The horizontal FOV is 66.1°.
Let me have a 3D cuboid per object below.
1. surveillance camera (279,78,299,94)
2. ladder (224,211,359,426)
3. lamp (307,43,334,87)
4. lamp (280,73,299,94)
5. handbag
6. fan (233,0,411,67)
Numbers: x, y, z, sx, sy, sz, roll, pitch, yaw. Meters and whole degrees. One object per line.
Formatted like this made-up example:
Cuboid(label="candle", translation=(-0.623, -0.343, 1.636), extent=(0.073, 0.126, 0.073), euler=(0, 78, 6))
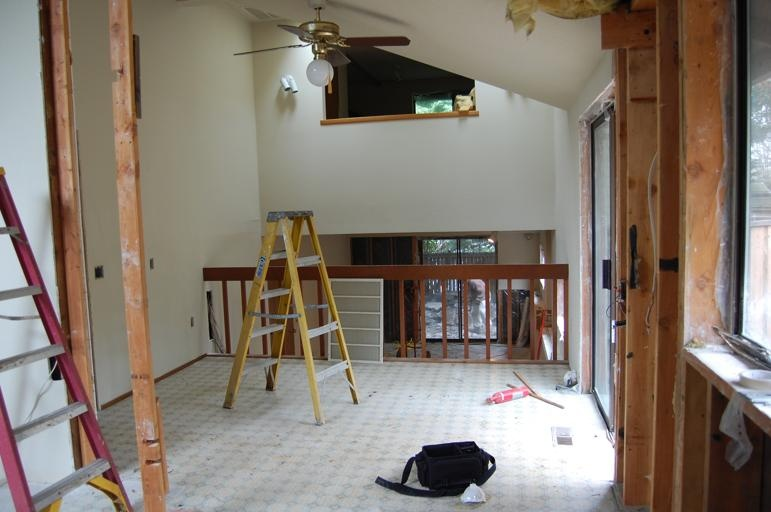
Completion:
Cuboid(label="surveillance camera", translation=(-1.205, -2.139, 7.380), extent=(0.234, 0.213, 0.147), euler=(0, 12, 7))
Cuboid(label="ladder", translation=(-0.819, 0.498, 5.284), extent=(1.052, 1.689, 1.143), euler=(-1, 0, -43))
Cuboid(label="lamp", translation=(-0.531, -1.526, 4.768), extent=(0.223, 0.329, 0.207), euler=(1, -1, -42))
Cuboid(label="lamp", translation=(-1.204, -2.143, 7.387), extent=(0.184, 0.233, 0.107), euler=(-3, -26, -10))
Cuboid(label="handbag", translation=(0.347, 1.439, 4.011), extent=(0.826, 0.241, 0.331), euler=(-1, 11, 2))
Cuboid(label="fan", translation=(-0.375, -1.721, 4.687), extent=(0.895, 0.333, 0.923), euler=(1, 5, 18))
